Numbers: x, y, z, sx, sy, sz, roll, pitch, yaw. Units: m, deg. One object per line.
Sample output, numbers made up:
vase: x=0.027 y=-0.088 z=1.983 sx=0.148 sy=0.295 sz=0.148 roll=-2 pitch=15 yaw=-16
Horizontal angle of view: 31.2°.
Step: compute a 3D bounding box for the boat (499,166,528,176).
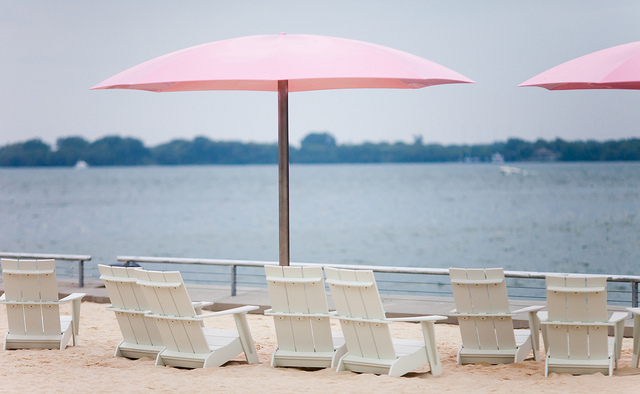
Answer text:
boat: x=23.241 y=-3.220 z=139.103 sx=3.863 sy=0.945 sz=1.088 roll=6 pitch=-8 yaw=11
